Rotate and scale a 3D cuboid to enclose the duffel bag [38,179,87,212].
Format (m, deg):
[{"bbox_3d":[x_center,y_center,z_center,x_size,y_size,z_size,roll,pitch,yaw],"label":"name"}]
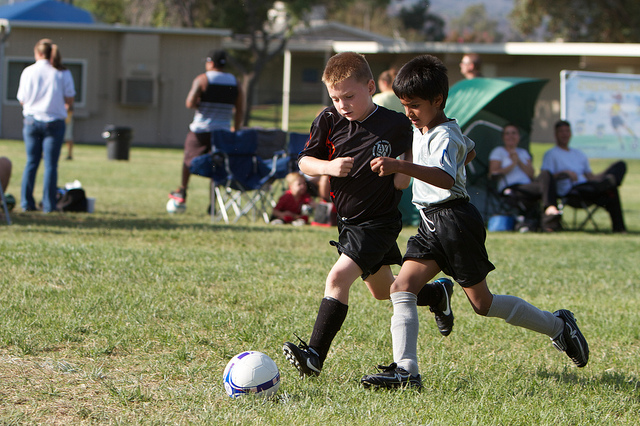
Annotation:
[{"bbox_3d":[-3.513,-0.235,13.653,0.421,0.420,0.351,2,4,-15],"label":"duffel bag"}]

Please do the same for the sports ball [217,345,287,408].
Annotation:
[{"bbox_3d":[-0.642,1.491,8.855,0.546,0.501,0.496,-10,6,-13],"label":"sports ball"}]

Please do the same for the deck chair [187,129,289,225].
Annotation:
[{"bbox_3d":[-1.151,-0.603,14.580,1.226,1.593,1.193,2,5,-7],"label":"deck chair"}]

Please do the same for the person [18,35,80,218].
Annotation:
[{"bbox_3d":[-3.787,-1.177,13.342,0.743,2.374,0.721,2,0,7],"label":"person"}]

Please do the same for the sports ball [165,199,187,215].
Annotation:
[{"bbox_3d":[-2.166,-0.098,14.431,0.261,0.230,0.237,21,7,6],"label":"sports ball"}]

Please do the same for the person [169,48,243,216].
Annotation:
[{"bbox_3d":[-1.648,-1.194,14.314,0.946,2.470,1.107,2,3,-6],"label":"person"}]

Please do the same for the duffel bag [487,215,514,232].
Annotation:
[{"bbox_3d":[2.802,0.169,15.054,0.282,0.188,0.292,0,3,0],"label":"duffel bag"}]

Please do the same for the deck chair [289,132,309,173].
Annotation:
[{"bbox_3d":[-0.374,-0.967,15.469,0.293,0.630,1.764,2,4,-1],"label":"deck chair"}]
